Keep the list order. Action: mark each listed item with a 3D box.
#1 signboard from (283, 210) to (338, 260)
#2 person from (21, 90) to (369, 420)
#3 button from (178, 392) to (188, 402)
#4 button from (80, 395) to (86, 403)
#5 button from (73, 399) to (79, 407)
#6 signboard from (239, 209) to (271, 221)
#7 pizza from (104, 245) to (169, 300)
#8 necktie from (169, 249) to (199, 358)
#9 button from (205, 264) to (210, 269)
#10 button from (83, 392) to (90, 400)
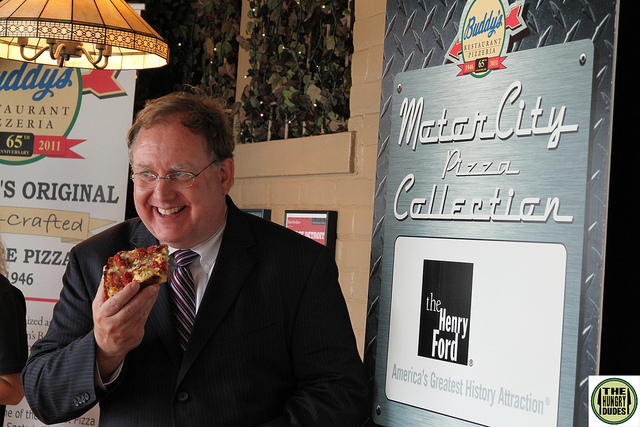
[{"bbox_3d":[-0.070,0.111,3.091,0.097,0.251,0.426,2,0,-44],"label":"signboard"},{"bbox_3d":[-0.497,0.167,2.065,1.350,1.096,0.535,2,0,-16],"label":"person"},{"bbox_3d":[-0.532,0.713,1.910,0.036,0.029,0.005,2,1,0],"label":"button"},{"bbox_3d":[-0.897,0.701,1.863,0.021,0.022,0.005,39,25,25],"label":"button"},{"bbox_3d":[-0.927,0.721,1.872,0.022,0.023,0.007,0,10,36],"label":"button"},{"bbox_3d":[-0.418,0.017,3.417,0.214,0.078,0.211,2,-2,25],"label":"signboard"},{"bbox_3d":[-0.696,0.228,1.891,0.193,0.198,0.061,-9,-44,1],"label":"pizza"},{"bbox_3d":[-0.563,0.355,2.020,0.110,0.348,0.148,2,0,-14],"label":"necktie"},{"bbox_3d":[-0.480,0.225,2.091,0.018,0.019,0.004,5,-4,-1],"label":"button"},{"bbox_3d":[-0.880,0.691,1.859,0.026,0.027,0.006,5,15,26],"label":"button"}]
